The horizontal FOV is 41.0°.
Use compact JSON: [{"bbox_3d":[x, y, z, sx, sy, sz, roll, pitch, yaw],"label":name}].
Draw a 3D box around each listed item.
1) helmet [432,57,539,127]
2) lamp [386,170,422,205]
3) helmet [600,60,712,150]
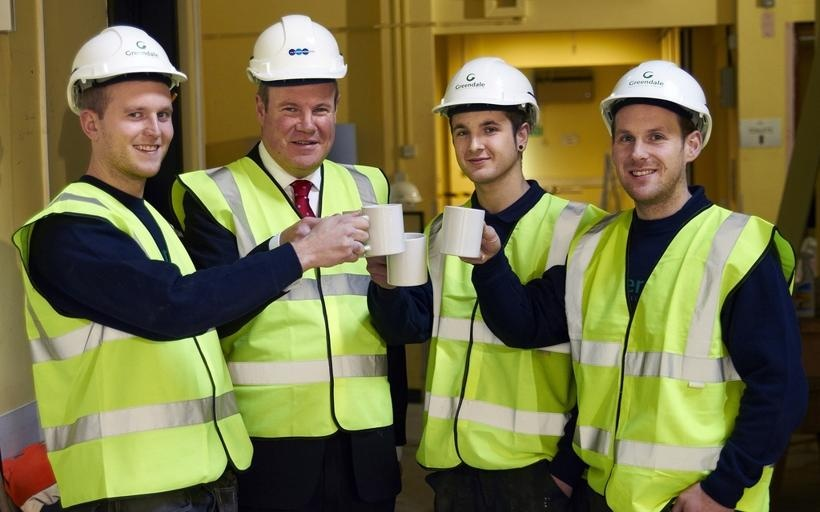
[{"bbox_3d":[0.422,-0.856,5.411,0.392,0.213,0.300,22,-21,-36],"label":"helmet"},{"bbox_3d":[-0.048,-0.574,9.106,0.239,0.178,0.331,-4,9,-13],"label":"lamp"},{"bbox_3d":[1.200,-0.746,5.227,0.406,0.398,0.460,0,-19,36],"label":"helmet"}]
